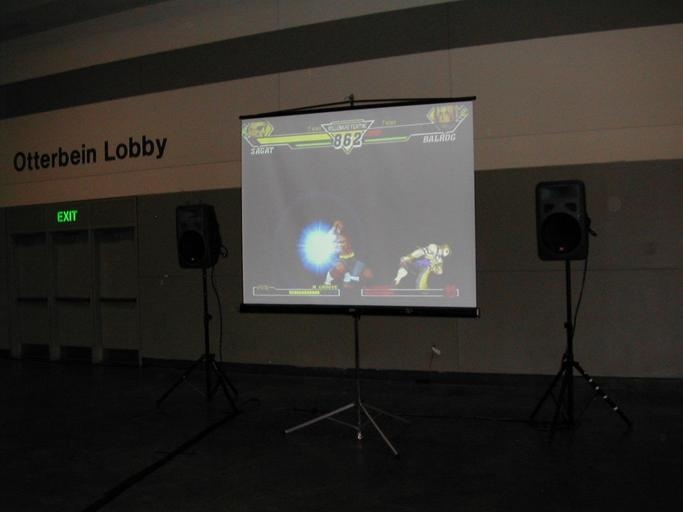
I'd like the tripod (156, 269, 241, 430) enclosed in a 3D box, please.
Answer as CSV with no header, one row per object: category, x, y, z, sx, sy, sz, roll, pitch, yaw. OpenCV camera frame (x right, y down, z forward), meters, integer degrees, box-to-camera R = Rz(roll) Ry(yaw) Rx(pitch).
tripod,-1.464,0.824,6.774,0.837,1.370,0.814,-1,6,-17

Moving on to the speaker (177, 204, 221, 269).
speaker,-1.452,-0.195,6.794,0.423,0.651,0.218,-4,4,-14

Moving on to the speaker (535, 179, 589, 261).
speaker,2.055,-0.400,6.265,0.492,0.808,0.416,-2,25,18
